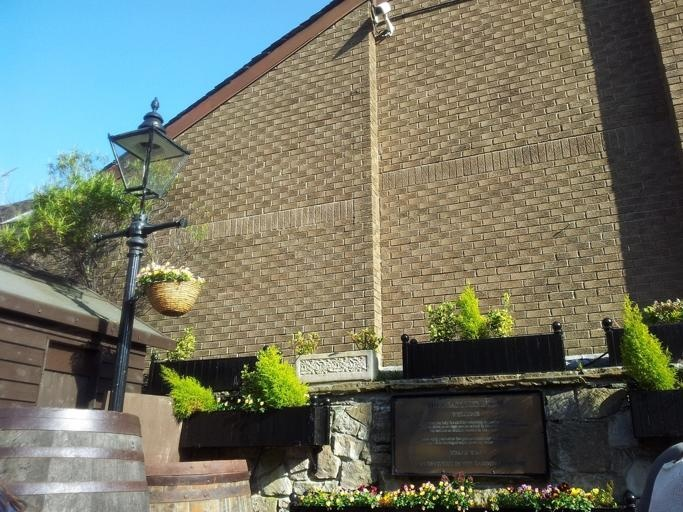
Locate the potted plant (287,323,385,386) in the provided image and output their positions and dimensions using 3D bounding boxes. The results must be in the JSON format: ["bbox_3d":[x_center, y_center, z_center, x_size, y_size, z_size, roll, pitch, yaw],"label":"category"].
[{"bbox_3d":[0.065,1.514,9.045,1.050,0.424,0.759,-7,-21,21],"label":"potted plant"}]

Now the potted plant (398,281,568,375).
[{"bbox_3d":[1.722,1.069,8.332,1.971,1.097,1.121,-2,-19,-2],"label":"potted plant"}]

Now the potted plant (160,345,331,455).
[{"bbox_3d":[-1.296,1.895,8.292,2.280,1.205,0.719,-8,-13,19],"label":"potted plant"}]

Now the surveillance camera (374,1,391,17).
[{"bbox_3d":[0.735,-4.548,11.732,0.218,0.359,0.201,-42,-72,7],"label":"surveillance camera"}]

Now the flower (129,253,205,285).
[{"bbox_3d":[-2.579,0.255,9.058,0.718,0.314,0.709,13,-14,-41],"label":"flower"}]

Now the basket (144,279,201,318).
[{"bbox_3d":[-2.341,0.581,8.960,0.588,0.319,0.558,4,-24,-8],"label":"basket"}]
